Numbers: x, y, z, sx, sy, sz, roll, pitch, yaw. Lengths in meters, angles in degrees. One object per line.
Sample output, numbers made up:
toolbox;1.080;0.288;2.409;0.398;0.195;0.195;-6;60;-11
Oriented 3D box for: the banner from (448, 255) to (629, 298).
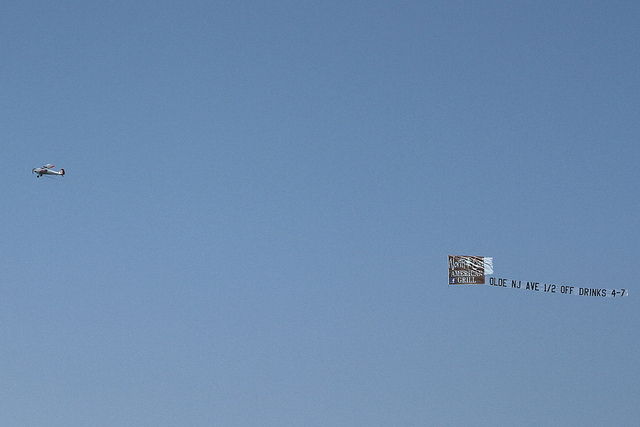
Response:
banner;0.832;0.243;5.268;0.671;0.178;0.008;4;-51;4
